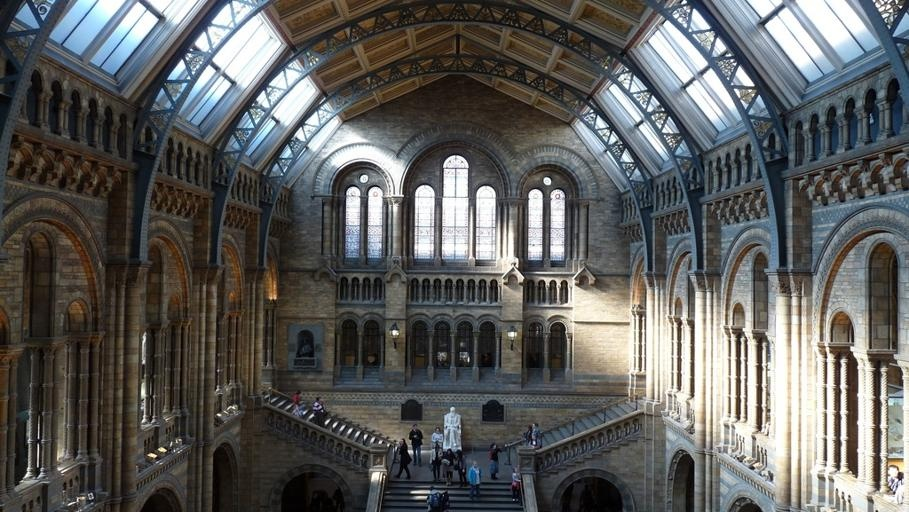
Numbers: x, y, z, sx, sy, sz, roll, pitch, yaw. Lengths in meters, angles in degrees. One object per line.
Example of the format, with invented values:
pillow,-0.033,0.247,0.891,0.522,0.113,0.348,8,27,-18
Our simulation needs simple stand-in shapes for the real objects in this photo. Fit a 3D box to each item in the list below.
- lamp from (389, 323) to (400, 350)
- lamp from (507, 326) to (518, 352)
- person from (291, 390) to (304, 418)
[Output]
lamp,-3.492,4.778,46.965,0.588,1.583,0.557,4,-12,-25
lamp,3.542,4.887,46.845,0.595,1.435,0.751,-2,-11,3
person,-8.937,8.404,44.778,0.662,1.393,3.012,1,-11,-12
